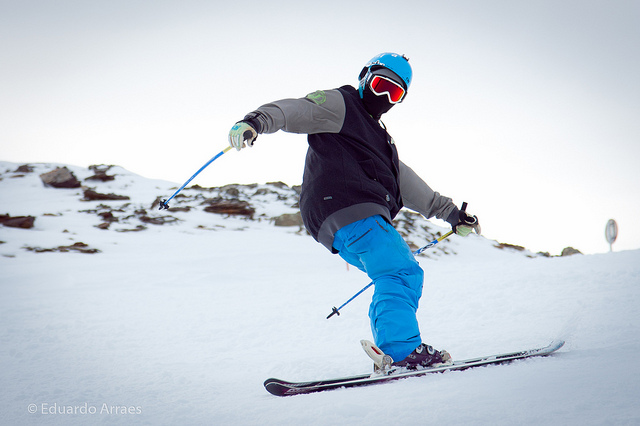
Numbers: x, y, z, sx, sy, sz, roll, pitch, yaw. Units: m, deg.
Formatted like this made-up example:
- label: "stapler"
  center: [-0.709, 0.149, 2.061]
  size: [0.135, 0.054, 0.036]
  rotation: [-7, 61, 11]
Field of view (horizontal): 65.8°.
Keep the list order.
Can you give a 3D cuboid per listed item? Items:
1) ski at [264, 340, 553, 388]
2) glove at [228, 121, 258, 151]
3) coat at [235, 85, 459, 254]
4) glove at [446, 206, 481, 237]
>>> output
- label: "ski"
  center: [0.948, 1.481, 4.836]
  size: [2.504, 0.181, 0.254]
  rotation: [-8, 0, -10]
- label: "glove"
  center: [-0.754, -0.727, 4.692]
  size: [0.210, 0.226, 0.260]
  rotation: [18, 20, 33]
- label: "coat"
  center: [0.132, -0.452, 4.983]
  size: [1.409, 1.707, 0.570]
  rotation: [0, 4, 1]
- label: "glove"
  center: [1.621, 0.001, 5.680]
  size: [0.147, 0.434, 0.396]
  rotation: [29, -33, -30]
